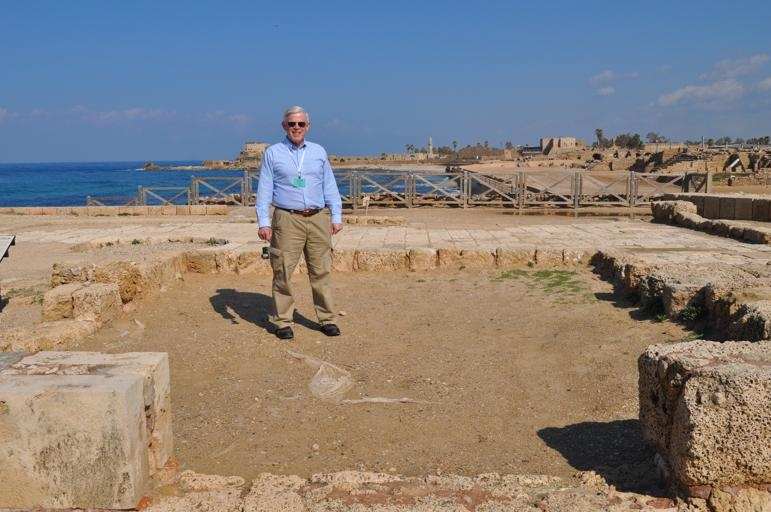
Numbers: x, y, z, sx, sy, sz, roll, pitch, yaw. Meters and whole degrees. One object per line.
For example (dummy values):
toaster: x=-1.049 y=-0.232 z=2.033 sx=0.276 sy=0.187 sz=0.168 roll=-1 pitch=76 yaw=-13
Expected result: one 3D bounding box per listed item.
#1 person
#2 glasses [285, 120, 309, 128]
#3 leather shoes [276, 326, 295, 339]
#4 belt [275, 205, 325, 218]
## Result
person: x=-0.784 y=-0.269 z=5.704 sx=0.810 sy=2.189 sz=0.541 roll=-6 pitch=18 yaw=-11
glasses: x=-0.795 y=-1.198 z=5.508 sx=0.202 sy=0.044 sz=0.169 roll=-1 pitch=7 yaw=-12
leather shoes: x=-0.964 y=0.744 z=5.830 sx=0.107 sy=0.063 sz=0.185 roll=-1 pitch=7 yaw=-16
belt: x=-0.799 y=-0.414 z=5.640 sx=0.435 sy=0.099 sz=0.127 roll=-3 pitch=14 yaw=-8
